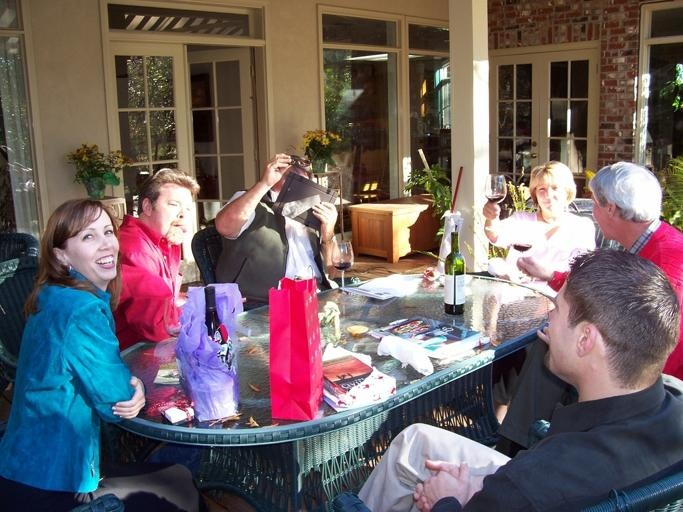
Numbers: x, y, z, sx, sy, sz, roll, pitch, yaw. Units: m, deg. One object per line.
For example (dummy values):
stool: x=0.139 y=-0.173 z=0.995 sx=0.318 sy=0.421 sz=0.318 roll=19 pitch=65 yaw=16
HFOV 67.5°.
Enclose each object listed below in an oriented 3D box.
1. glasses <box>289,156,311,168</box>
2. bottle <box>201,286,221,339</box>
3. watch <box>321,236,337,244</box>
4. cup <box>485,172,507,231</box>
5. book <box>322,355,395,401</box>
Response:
glasses: x=-0.252 y=-0.534 z=2.881 sx=0.079 sy=0.033 sz=0.071 roll=13 pitch=16 yaw=25
bottle: x=-0.380 y=0.156 z=1.493 sx=0.039 sy=0.146 sz=0.131 roll=-4 pitch=12 yaw=-14
watch: x=-0.070 y=-0.087 z=2.988 sx=0.062 sy=0.032 sz=0.051 roll=3 pitch=11 yaw=2
cup: x=0.894 y=-0.385 z=2.971 sx=0.114 sy=0.189 sz=0.297 roll=1 pitch=13 yaw=16
book: x=0.032 y=0.374 z=1.581 sx=0.118 sy=0.033 sz=0.122 roll=-6 pitch=21 yaw=-25
